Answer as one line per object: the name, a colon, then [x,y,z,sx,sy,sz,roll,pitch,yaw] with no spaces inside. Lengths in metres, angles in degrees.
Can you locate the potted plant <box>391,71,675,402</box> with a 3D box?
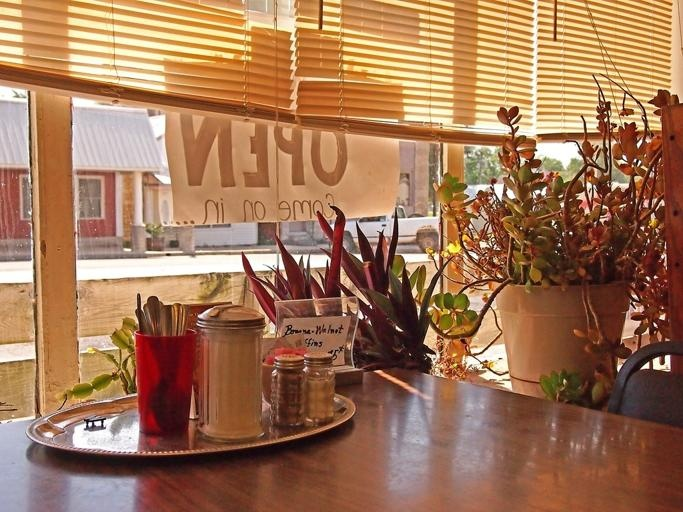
potted plant: [0.555,0.004,1.895,0.765,1.180,0.806,0,-3,2]
